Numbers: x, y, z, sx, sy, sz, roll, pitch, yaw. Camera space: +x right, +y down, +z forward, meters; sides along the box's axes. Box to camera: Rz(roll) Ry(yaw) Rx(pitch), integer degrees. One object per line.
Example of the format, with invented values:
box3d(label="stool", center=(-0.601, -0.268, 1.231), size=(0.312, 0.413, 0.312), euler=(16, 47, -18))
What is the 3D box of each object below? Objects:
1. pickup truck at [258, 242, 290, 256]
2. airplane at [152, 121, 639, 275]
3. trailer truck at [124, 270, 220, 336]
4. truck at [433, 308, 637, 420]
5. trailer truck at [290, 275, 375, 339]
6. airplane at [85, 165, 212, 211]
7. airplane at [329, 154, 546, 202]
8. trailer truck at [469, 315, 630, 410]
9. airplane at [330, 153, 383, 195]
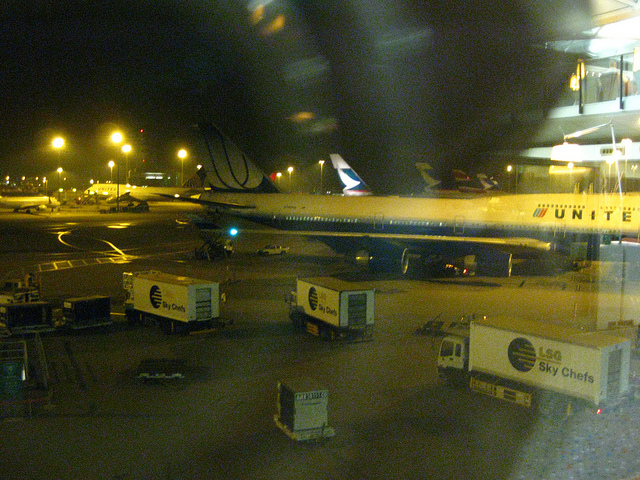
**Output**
box3d(label="pickup truck", center=(-4.144, 0.683, 56.111), size=(2.157, 0.775, 1.084), euler=(3, -2, -32))
box3d(label="airplane", center=(5.038, -4.148, 47.683), size=(30.018, 8.618, 3.978), euler=(-4, 2, 19))
box3d(label="trailer truck", center=(-7.507, 3.019, 31.606), size=(5.209, 2.548, 1.757), euler=(6, 7, 38))
box3d(label="truck", center=(8.320, 4.892, 25.046), size=(8.585, 3.961, 3.177), euler=(6, 9, 34))
box3d(label="trailer truck", center=(0.509, 3.209, 31.310), size=(2.348, 2.354, 4.420), euler=(-1, 6, -30))
box3d(label="airplane", center=(-38.626, -12.406, 147.347), size=(24.664, 9.173, 25.794), euler=(4, 8, 10))
box3d(label="airplane", center=(15.131, -9.159, 89.641), size=(16.094, 4.925, 16.205), euler=(-2, 8, -16))
box3d(label="trailer truck", center=(8.706, 4.302, 24.455), size=(6.792, 3.117, 2.764), euler=(10, 12, 35))
box3d(label="airplane", center=(3.374, -7.471, 73.962), size=(3.836, 4.982, 4.692), euler=(6, 18, 26))
